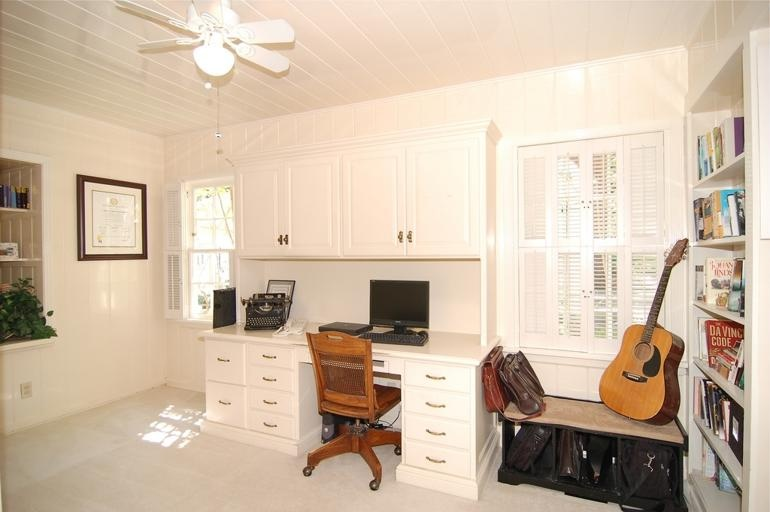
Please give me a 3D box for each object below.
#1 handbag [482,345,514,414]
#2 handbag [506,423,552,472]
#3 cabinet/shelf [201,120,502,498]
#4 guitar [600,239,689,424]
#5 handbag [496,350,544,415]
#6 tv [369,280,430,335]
[{"bbox_3d":[0.955,1.079,4.388,0.201,0.502,0.602,-3,-7,25],"label":"handbag"},{"bbox_3d":[1.208,1.615,4.398,0.149,0.409,0.322,21,-9,26],"label":"handbag"},{"bbox_3d":[-0.227,0.559,4.768,3.504,3.289,1.167,-1,-2,23],"label":"cabinet/shelf"},{"bbox_3d":[2.196,0.629,4.162,0.683,1.438,0.513,-7,15,-23],"label":"guitar"},{"bbox_3d":[1.213,1.094,4.449,0.367,0.483,0.179,-40,-23,30],"label":"handbag"},{"bbox_3d":[0.147,0.486,4.885,0.512,0.428,0.176,-1,-6,18],"label":"tv"}]
